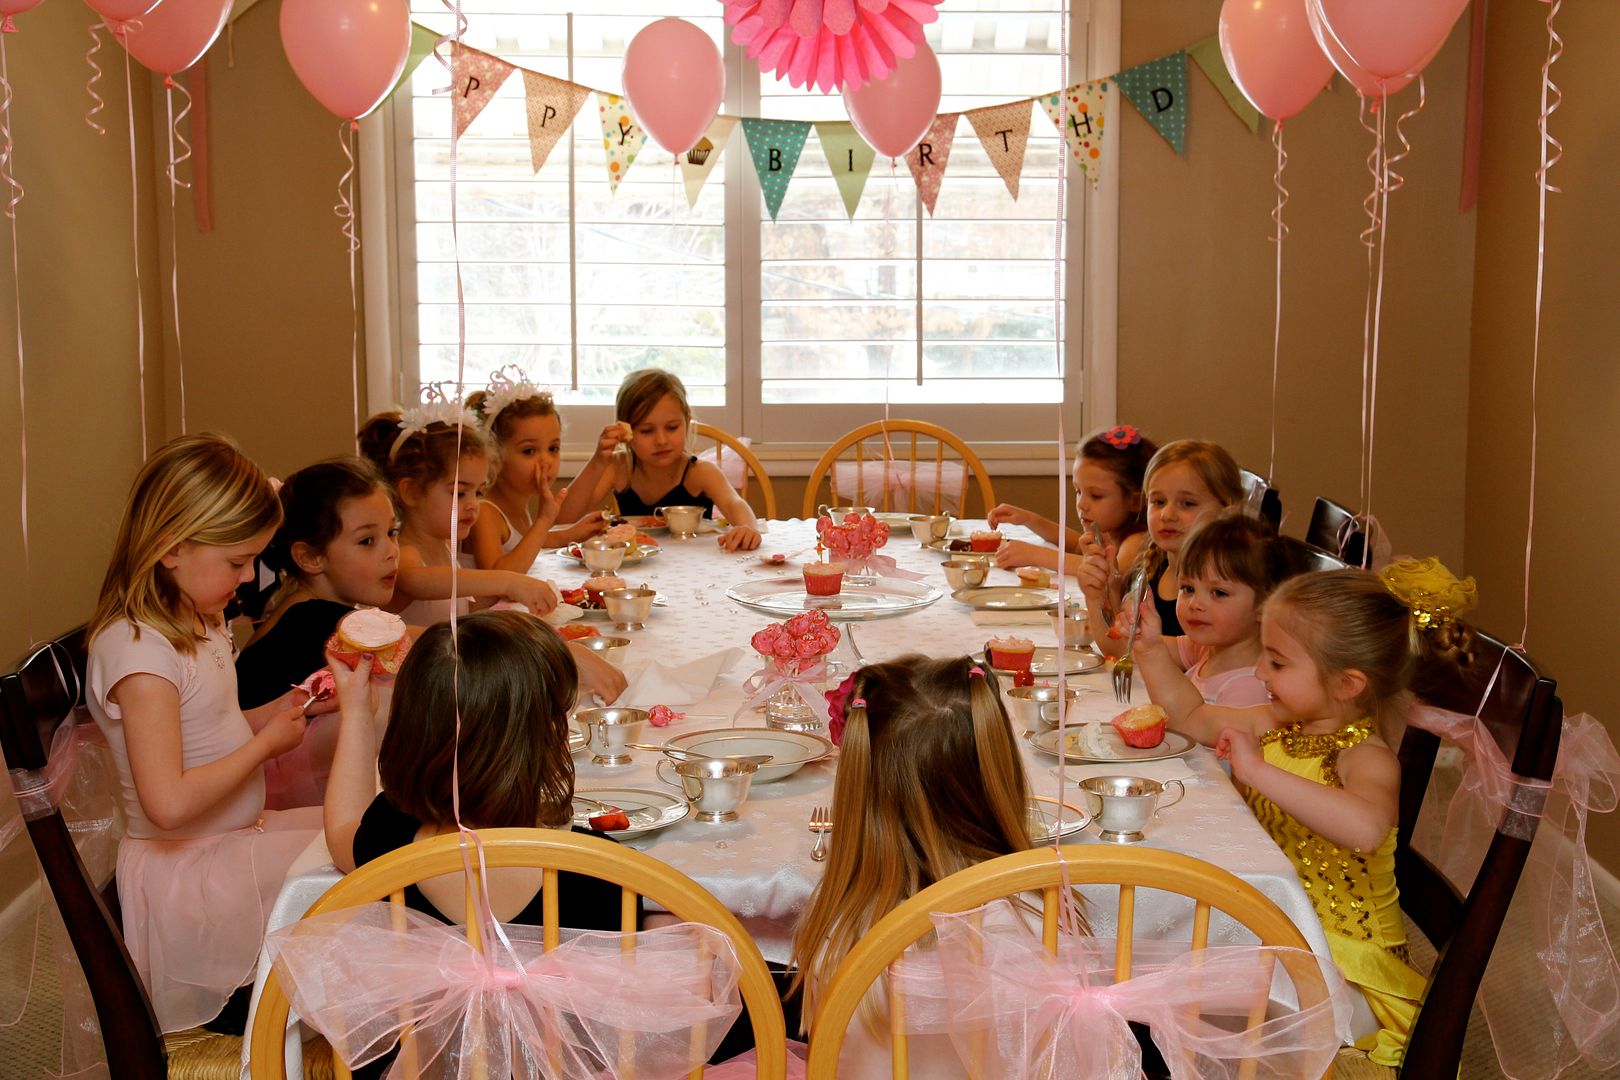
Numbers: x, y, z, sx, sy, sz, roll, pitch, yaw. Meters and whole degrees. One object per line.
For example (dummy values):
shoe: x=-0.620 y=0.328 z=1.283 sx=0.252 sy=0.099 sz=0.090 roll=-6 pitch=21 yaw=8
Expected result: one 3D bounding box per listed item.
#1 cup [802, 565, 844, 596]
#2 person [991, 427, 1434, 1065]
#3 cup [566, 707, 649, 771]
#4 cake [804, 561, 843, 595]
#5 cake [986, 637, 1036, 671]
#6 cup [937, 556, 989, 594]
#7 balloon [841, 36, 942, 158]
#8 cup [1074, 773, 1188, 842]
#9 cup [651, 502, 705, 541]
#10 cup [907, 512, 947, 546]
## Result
cup: x=0.037 y=0.088 z=2.667 sx=0.073 sy=0.053 sz=0.075 roll=2 pitch=8 yaw=0
person: x=0.950 y=0.513 z=2.628 sx=0.783 sy=1.794 sz=0.843 roll=7 pitch=-17 yaw=-8
cup: x=-0.312 y=0.313 z=1.853 sx=0.091 sy=0.063 sz=0.094 roll=1 pitch=10 yaw=0
cake: x=0.032 y=0.094 z=2.666 sx=0.071 sy=0.052 sz=0.075 roll=7 pitch=11 yaw=36
cake: x=0.374 y=0.213 z=2.118 sx=0.059 sy=0.043 sz=0.061 roll=0 pitch=-5 yaw=-4
cup: x=0.395 y=0.087 z=2.789 sx=0.085 sy=0.063 sz=0.088 roll=0 pitch=6 yaw=0
balloon: x=0.238 y=-1.251 z=3.239 sx=0.227 sy=0.287 sz=0.334 roll=3 pitch=10 yaw=32
cup: x=0.459 y=0.371 z=1.602 sx=0.127 sy=0.066 sz=0.088 roll=0 pitch=-3 yaw=-11
cup: x=-0.381 y=-0.044 z=3.438 sx=0.126 sy=0.075 sz=0.092 roll=-1 pitch=-6 yaw=-4
cup: x=0.348 y=-0.028 z=3.330 sx=0.091 sy=0.085 sz=0.079 roll=4 pitch=6 yaw=21
